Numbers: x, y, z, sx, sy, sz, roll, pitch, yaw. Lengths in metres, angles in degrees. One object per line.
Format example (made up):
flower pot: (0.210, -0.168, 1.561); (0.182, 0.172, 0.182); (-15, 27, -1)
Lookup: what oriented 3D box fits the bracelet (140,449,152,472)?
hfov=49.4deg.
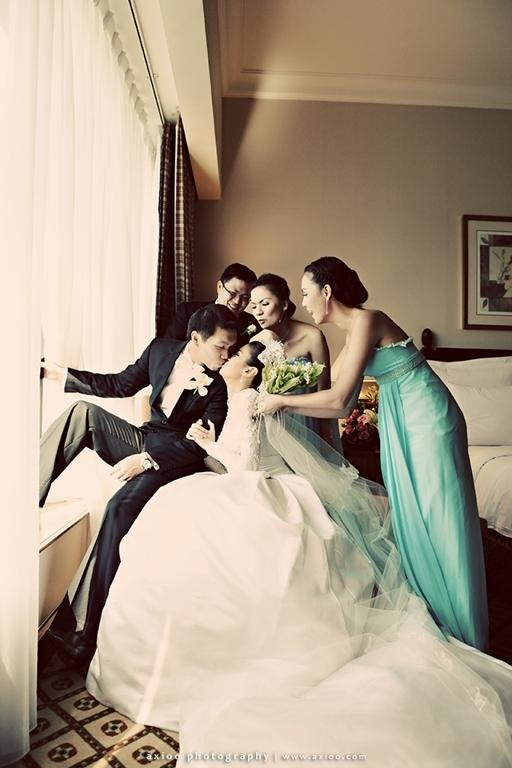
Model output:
bracelet: (-0.373, 0.263, 1.878); (0.039, 0.062, 0.056); (-23, 1, -27)
